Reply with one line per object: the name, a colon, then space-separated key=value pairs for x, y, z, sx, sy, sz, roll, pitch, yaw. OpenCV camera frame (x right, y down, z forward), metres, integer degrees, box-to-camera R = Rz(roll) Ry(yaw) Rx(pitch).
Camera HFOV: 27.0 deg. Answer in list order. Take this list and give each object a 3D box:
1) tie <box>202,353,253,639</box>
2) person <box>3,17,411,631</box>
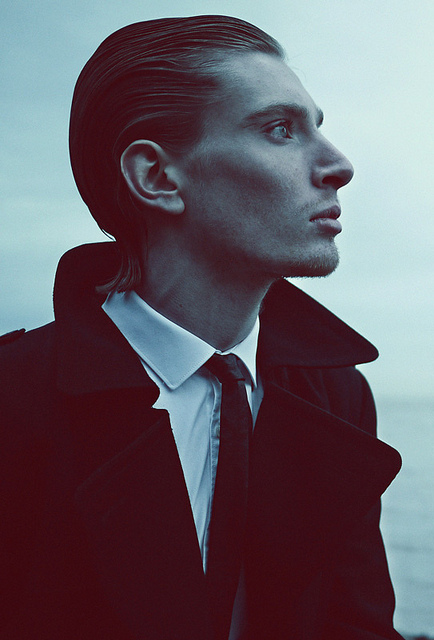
tie: x=0.045 y=0.692 z=3.560 sx=0.165 sy=1.054 sz=0.134 roll=-1 pitch=-2 yaw=29
person: x=-0.104 y=0.035 z=3.743 sx=1.734 sy=2.554 sz=0.980 roll=-5 pitch=11 yaw=-26
